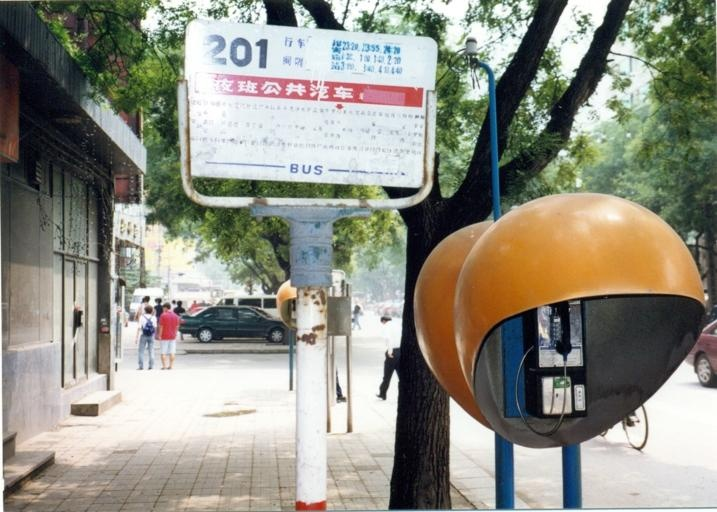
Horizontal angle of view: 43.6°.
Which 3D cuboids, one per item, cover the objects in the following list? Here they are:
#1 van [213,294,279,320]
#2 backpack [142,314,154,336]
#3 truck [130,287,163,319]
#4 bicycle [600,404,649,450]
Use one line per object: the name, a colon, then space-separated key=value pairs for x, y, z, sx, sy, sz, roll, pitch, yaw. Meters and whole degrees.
van: x=-4.148 y=1.612 z=33.105 sx=2.046 sy=1.211 sz=1.254 roll=3 pitch=-7 yaw=-2
backpack: x=-4.968 y=1.660 z=21.121 sx=0.277 sy=0.451 sz=0.399 roll=0 pitch=-4 yaw=-16
truck: x=-8.832 y=1.917 z=37.165 sx=1.199 sy=1.486 sz=2.464 roll=0 pitch=-11 yaw=-4
bicycle: x=4.072 y=2.544 z=13.218 sx=0.382 sy=0.697 sz=1.154 roll=-1 pitch=-4 yaw=16
